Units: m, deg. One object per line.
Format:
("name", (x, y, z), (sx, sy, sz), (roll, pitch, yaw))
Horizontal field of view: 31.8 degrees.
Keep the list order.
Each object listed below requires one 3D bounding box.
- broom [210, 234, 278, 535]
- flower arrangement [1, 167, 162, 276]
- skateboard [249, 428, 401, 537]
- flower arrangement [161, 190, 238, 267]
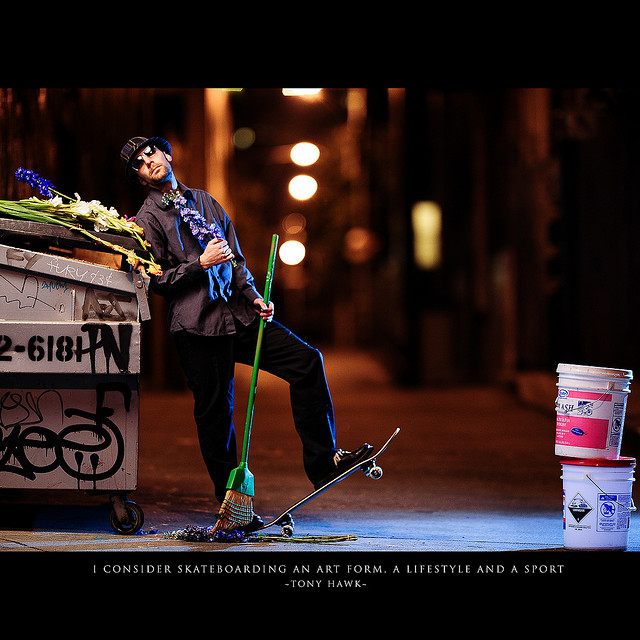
("broom", (-0.418, 0.346, 6.383), (0.324, 1.681, 0.455), (1, -2, 1))
("flower arrangement", (-1.319, -0.528, 6.255), (0.890, 0.566, 0.299), (1, -2, -6))
("skateboard", (0.032, 1.073, 7.212), (0.818, 0.142, 0.165), (-38, -13, -8))
("flower arrangement", (-0.695, -0.533, 6.388), (0.155, 0.544, 0.165), (-46, 4, -9))
